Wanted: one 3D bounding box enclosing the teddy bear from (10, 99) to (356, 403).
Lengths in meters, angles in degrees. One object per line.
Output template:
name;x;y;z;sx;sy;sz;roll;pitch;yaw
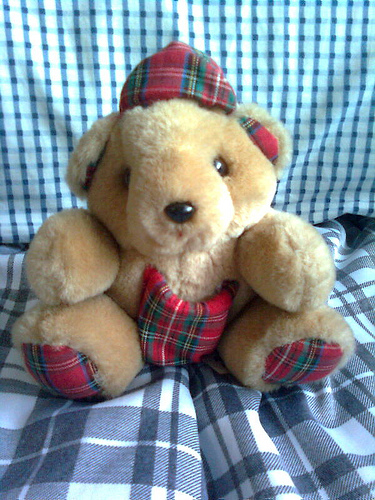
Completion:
teddy bear;-0.013;-0.006;0.575;0.422;0.333;0.236;-4;19;0
